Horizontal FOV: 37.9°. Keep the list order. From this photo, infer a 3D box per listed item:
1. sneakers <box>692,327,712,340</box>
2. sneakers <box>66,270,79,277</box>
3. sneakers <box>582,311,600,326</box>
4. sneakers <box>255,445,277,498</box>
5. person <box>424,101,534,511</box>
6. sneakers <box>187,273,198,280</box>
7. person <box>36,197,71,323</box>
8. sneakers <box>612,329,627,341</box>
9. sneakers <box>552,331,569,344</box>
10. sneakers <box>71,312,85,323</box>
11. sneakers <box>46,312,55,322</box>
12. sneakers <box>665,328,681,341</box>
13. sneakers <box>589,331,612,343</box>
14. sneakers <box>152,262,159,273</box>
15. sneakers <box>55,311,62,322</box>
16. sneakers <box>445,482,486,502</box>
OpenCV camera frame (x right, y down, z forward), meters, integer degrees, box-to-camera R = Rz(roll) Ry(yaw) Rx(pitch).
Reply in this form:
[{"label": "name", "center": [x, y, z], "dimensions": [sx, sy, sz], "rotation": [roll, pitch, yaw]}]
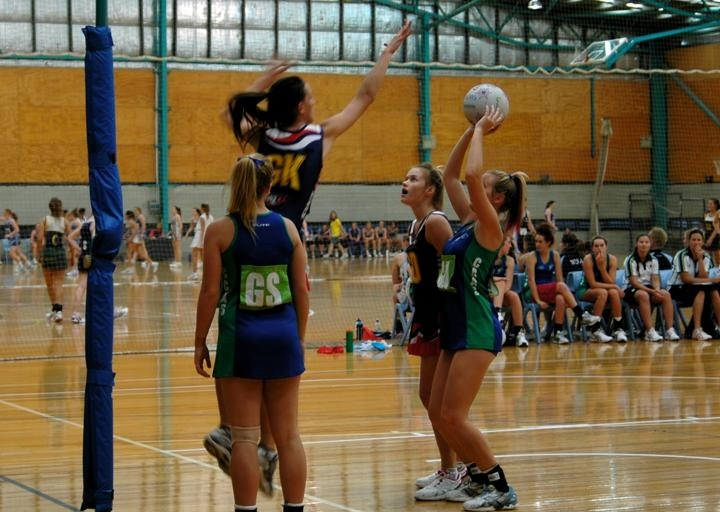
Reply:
[{"label": "sneakers", "center": [5.880, 1.349, 18.032], "dimensions": [0.265, 0.196, 0.169], "rotation": [-1, 5, 8]}, {"label": "sneakers", "center": [-7.709, 0.470, 28.134], "dimensions": [0.156, 0.139, 0.416], "rotation": [16, 0, -13]}, {"label": "sneakers", "center": [3.914, 1.052, 17.783], "dimensions": [0.168, 0.220, 0.360], "rotation": [-43, 13, -15]}, {"label": "sneakers", "center": [-1.033, 2.381, 11.661], "dimensions": [0.239, 0.626, 0.194], "rotation": [2, -3, 10]}, {"label": "person", "center": [1.311, 0.580, 11.965], "dimensions": [0.991, 4.556, 0.852], "rotation": [1, 3, 5]}, {"label": "sneakers", "center": [-4.300, 0.535, 27.038], "dimensions": [0.124, 0.182, 0.378], "rotation": [2, 2, -28]}, {"label": "person", "center": [-5.763, 0.081, 19.722], "dimensions": [0.516, 2.312, 0.694], "rotation": [-1, 3, -17]}, {"label": "sneakers", "center": [4.451, 1.375, 17.981], "dimensions": [0.132, 0.138, 0.301], "rotation": [-2, -6, -2]}, {"label": "sneakers", "center": [3.448, 1.409, 17.961], "dimensions": [0.270, 0.178, 0.500], "rotation": [1, 3, 9]}, {"label": "sneakers", "center": [-5.270, 1.181, 19.546], "dimensions": [0.137, 0.190, 0.419], "rotation": [0, -20, -10]}, {"label": "sneakers", "center": [-5.862, 1.162, 19.863], "dimensions": [0.143, 0.238, 0.213], "rotation": [8, -5, -19]}, {"label": "sneakers", "center": [5.373, 1.359, 17.994], "dimensions": [0.128, 0.147, 0.276], "rotation": [-1, -3, -7]}, {"label": "sneakers", "center": [4.104, 1.390, 17.915], "dimensions": [0.296, 0.167, 0.179], "rotation": [1, 3, 15]}, {"label": "sneakers", "center": [-5.906, 0.340, 30.237], "dimensions": [0.184, 0.286, 0.656], "rotation": [-1, -7, -3]}, {"label": "sneakers", "center": [-5.679, 1.144, 19.799], "dimensions": [0.120, 0.193, 0.416], "rotation": [0, 3, -13]}, {"label": "sneakers", "center": [1.192, 2.691, 11.937], "dimensions": [0.473, 0.245, 0.191], "rotation": [-5, -3, -5]}]
